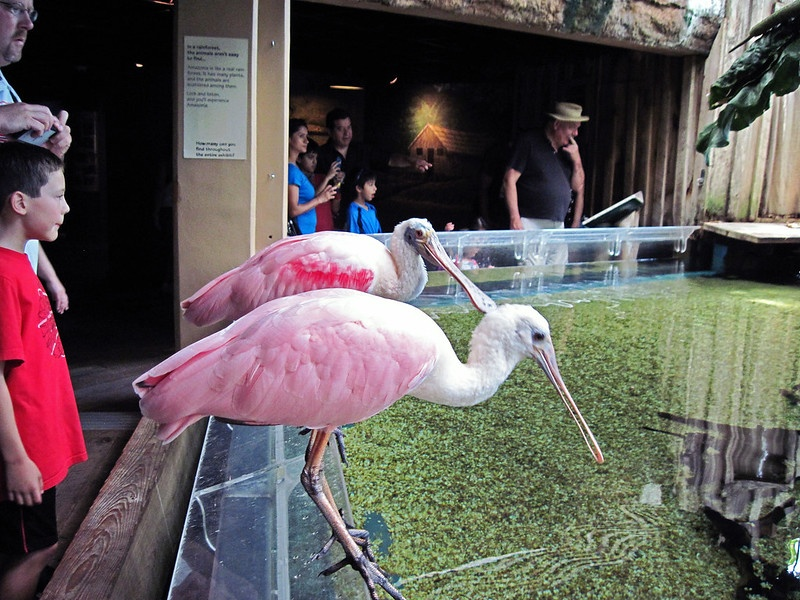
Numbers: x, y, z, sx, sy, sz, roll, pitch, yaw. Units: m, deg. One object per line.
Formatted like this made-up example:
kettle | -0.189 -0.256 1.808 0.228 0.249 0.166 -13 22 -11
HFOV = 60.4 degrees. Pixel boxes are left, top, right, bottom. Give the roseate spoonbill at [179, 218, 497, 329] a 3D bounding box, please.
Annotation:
roseate spoonbill | -0.297 -0.110 2.963 0.935 0.461 0.318 11 17 -18

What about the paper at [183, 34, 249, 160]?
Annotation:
paper | -0.901 -0.982 3.361 0.332 0.628 0.062 -9 36 -29

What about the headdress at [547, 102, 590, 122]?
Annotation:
headdress | 1.294 -1.433 5.270 0.332 0.151 0.217 -7 16 -39

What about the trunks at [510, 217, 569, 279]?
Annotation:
trunks | 0.996 -0.311 4.611 0.582 0.305 0.240 -9 17 -43

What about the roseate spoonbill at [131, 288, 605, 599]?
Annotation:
roseate spoonbill | 0.021 0.372 2.405 1.612 1.128 0.672 6 6 -9
